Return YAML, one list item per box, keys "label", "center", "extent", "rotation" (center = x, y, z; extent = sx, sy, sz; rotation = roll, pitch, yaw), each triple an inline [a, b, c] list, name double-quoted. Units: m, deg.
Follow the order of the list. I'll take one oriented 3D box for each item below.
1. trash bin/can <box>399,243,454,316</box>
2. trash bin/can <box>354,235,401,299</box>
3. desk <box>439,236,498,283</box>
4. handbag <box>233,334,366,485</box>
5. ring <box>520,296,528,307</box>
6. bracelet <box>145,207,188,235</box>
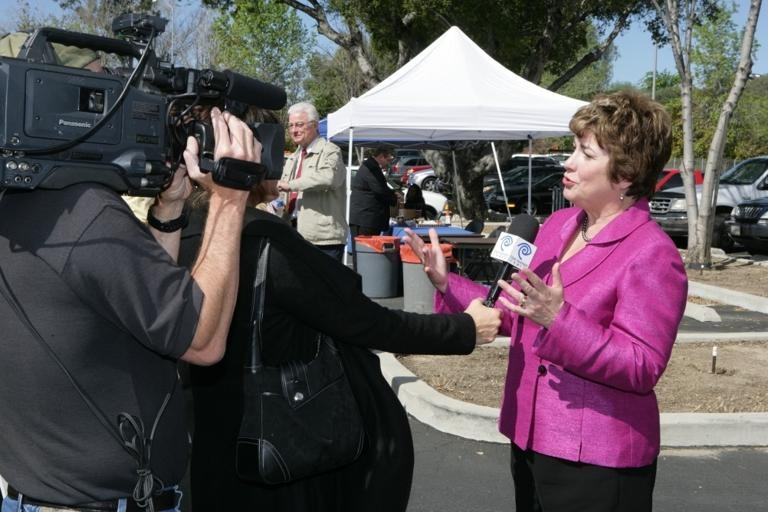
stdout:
- label: "trash bin/can"
  center: [0.409, 0.299, 8.807]
  extent: [0.763, 1.036, 0.773]
  rotation: [1, -2, -1]
- label: "trash bin/can"
  center: [-0.100, 0.169, 10.017]
  extent: [0.655, 0.872, 0.792]
  rotation: [-1, -1, -30]
- label: "desk"
  center: [1.098, 0.033, 11.062]
  extent: [1.222, 0.647, 0.904]
  rotation: [4, -3, -42]
- label: "handbag"
  center: [-0.314, 0.540, 2.477]
  extent: [0.398, 0.649, 0.232]
  rotation: [-10, -1, -41]
- label: "ring"
  center: [0.524, 0.173, 2.643]
  extent: [0.025, 0.039, 0.036]
  rotation: [-1, -17, 1]
- label: "bracelet"
  center: [-0.789, -0.143, 2.558]
  extent: [0.100, 0.060, 0.093]
  rotation: [17, 17, 30]
